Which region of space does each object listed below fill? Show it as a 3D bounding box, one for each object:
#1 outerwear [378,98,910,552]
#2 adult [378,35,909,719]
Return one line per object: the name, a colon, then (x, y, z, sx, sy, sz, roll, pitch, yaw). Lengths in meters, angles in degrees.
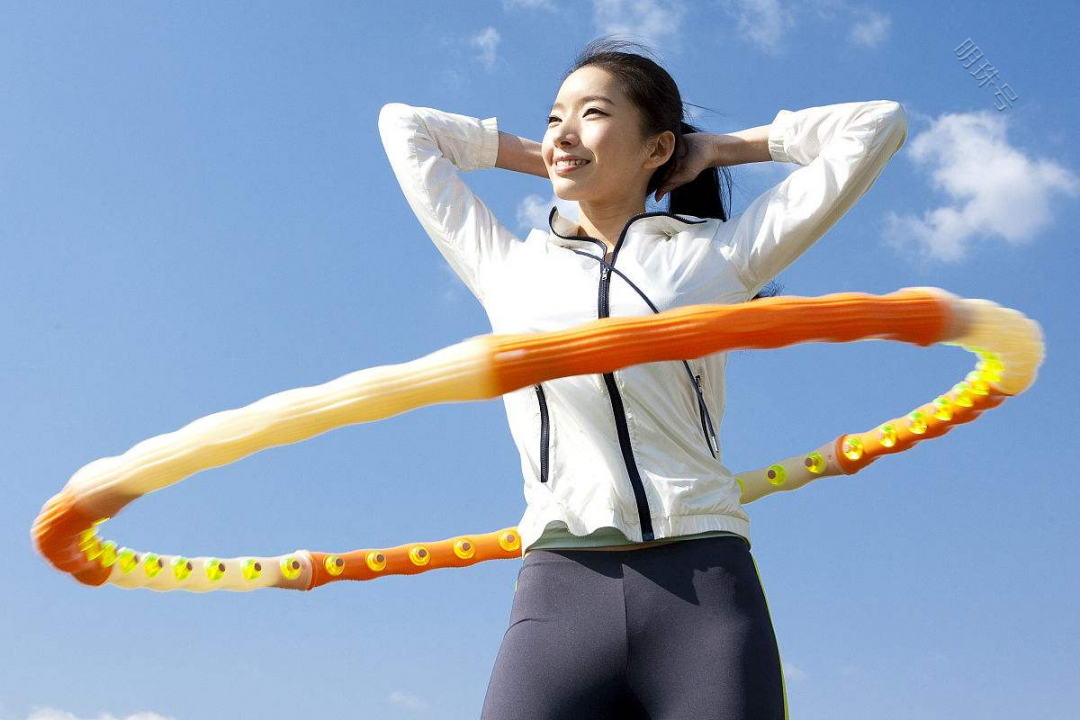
outerwear: (0.350, -0.202, 4.225, 1.662, 1.532, 0.502, -1, -30, 3)
adult: (0.349, -0.170, 4.496, 1.989, 1.766, 0.591, -3, -8, 19)
